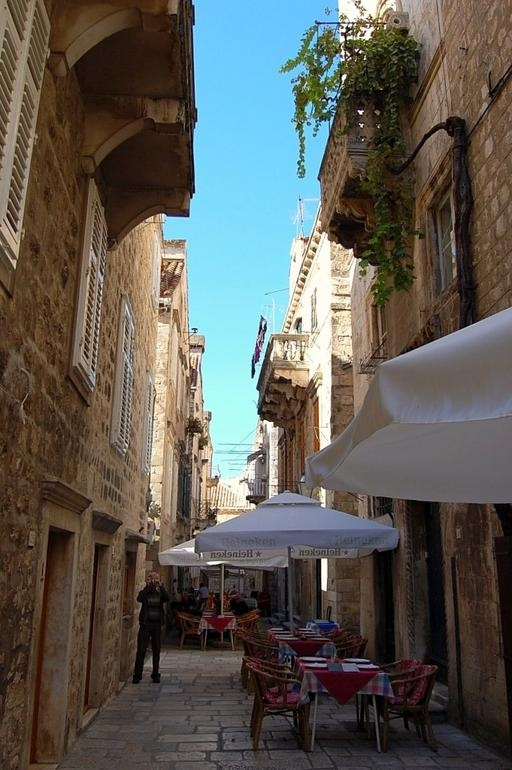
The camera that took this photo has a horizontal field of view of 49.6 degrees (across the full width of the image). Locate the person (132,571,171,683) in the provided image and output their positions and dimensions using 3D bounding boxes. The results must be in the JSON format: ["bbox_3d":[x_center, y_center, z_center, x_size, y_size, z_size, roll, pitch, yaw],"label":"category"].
[{"bbox_3d":[-1.754,4.056,9.192,0.504,1.730,0.849,2,-15,-13],"label":"person"}]

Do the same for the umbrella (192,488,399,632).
[{"bbox_3d":[0.471,1.848,6.815,1.544,1.529,1.958,-2,-18,-2],"label":"umbrella"}]

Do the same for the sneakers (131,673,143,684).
[{"bbox_3d":[-1.960,4.852,9.173,0.172,0.225,0.140,5,-3,-13],"label":"sneakers"}]
